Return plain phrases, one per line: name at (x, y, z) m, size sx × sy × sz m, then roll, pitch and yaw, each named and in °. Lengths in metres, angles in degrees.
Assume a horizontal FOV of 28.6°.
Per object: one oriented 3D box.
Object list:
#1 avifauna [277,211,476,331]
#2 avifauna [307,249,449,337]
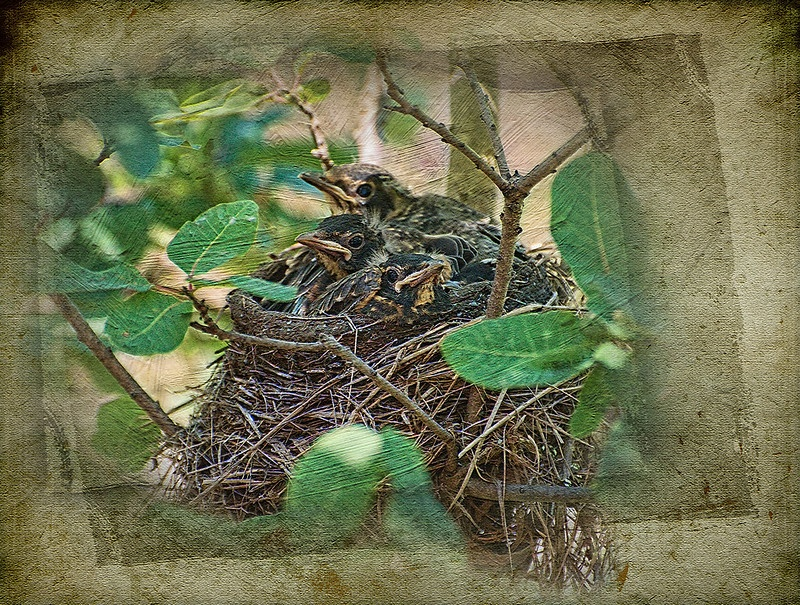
avifauna at (0.006, -0.068, 3.069) m, size 0.449 × 0.103 × 0.261 m, roll 8°, pitch -4°, yaw -11°
avifauna at (0.029, -0.007, 3.044) m, size 0.301 × 0.112 × 0.395 m, roll -3°, pitch -6°, yaw -20°
